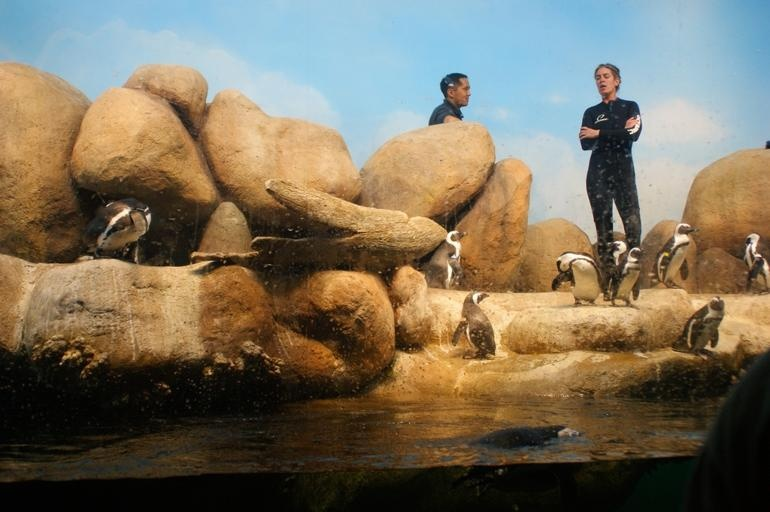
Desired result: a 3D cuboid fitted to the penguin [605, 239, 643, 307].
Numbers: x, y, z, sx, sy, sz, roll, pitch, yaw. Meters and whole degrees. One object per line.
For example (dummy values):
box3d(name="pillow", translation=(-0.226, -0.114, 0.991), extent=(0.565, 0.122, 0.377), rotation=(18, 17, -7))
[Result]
box3d(name="penguin", translation=(3.541, 0.253, 21.829), extent=(0.475, 0.981, 0.607), rotation=(0, 15, 2))

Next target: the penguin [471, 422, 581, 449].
box3d(name="penguin", translation=(1.775, 2.308, 18.572), extent=(1.286, 0.254, 0.586), rotation=(1, -3, -26))

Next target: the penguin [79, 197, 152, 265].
box3d(name="penguin", translation=(-3.888, -0.395, 21.224), extent=(0.935, 0.906, 1.052), rotation=(0, -3, -5))

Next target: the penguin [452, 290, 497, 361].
box3d(name="penguin", translation=(1.319, 1.041, 21.929), extent=(0.650, 0.983, 0.728), rotation=(0, -3, 3))

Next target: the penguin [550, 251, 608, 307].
box3d(name="penguin", translation=(2.811, 0.251, 21.819), extent=(0.715, 0.927, 0.801), rotation=(8, 28, 44))

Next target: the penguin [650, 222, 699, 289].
box3d(name="penguin", translation=(4.482, 0.121, 22.871), extent=(0.606, 1.222, 0.809), rotation=(7, 18, 25))

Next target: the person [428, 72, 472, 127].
box3d(name="person", translation=(1.099, -2.563, 24.709), extent=(0.584, 0.923, 1.165), rotation=(-1, -6, 21))
